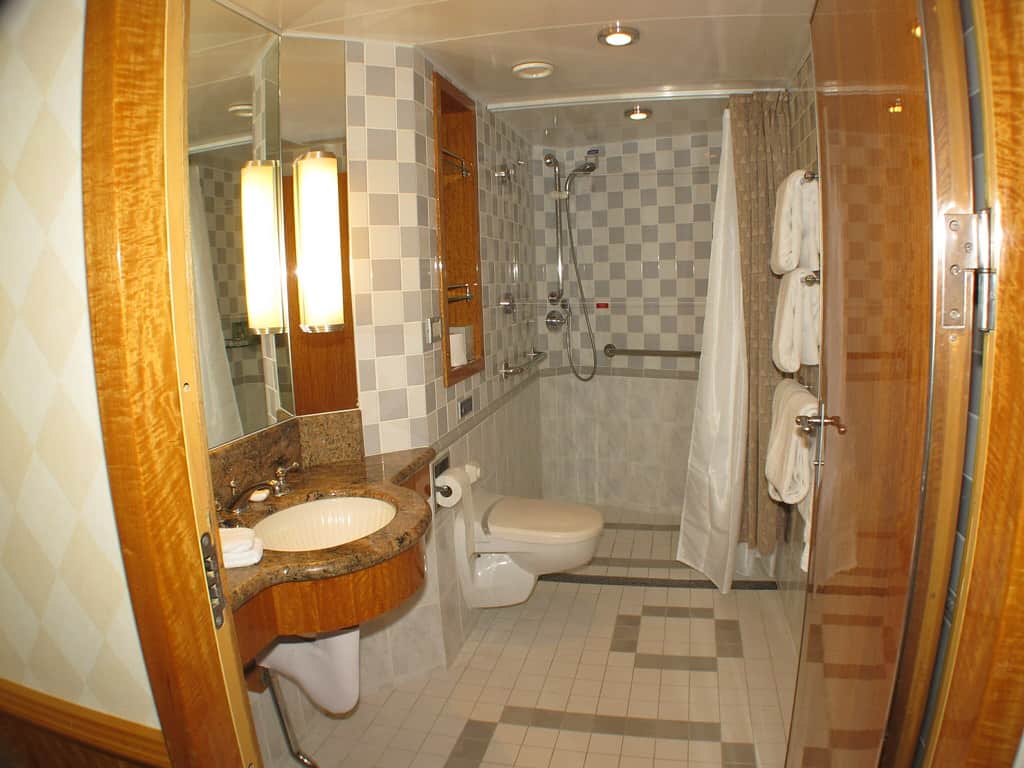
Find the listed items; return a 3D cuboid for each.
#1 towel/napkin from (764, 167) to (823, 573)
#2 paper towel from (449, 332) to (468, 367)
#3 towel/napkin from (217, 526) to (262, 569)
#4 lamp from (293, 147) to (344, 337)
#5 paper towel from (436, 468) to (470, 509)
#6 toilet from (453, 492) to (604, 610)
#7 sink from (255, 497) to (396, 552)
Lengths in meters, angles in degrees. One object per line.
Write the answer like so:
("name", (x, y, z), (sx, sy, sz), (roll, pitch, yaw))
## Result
("towel/napkin", (0.949, -0.026, 2.599), (0.170, 1.380, 0.725), (2, 11, 19))
("paper towel", (-0.215, -0.139, 3.015), (0.106, 0.126, 0.104), (2, 9, 25))
("towel/napkin", (-0.639, 0.379, 1.817), (0.089, 0.076, 0.153), (-7, 12, -21))
("lamp", (-0.578, -0.425, 2.289), (0.138, 0.519, 0.099), (-5, 11, -17))
("paper towel", (-0.221, 0.392, 2.779), (0.088, 0.158, 0.128), (3, 12, 23))
("toilet", (0.084, 0.614, 2.986), (0.514, 0.371, 0.394), (0, 12, 8))
("sink", (-0.521, 0.400, 2.153), (0.372, 0.127, 0.177), (-6, 12, -15))
